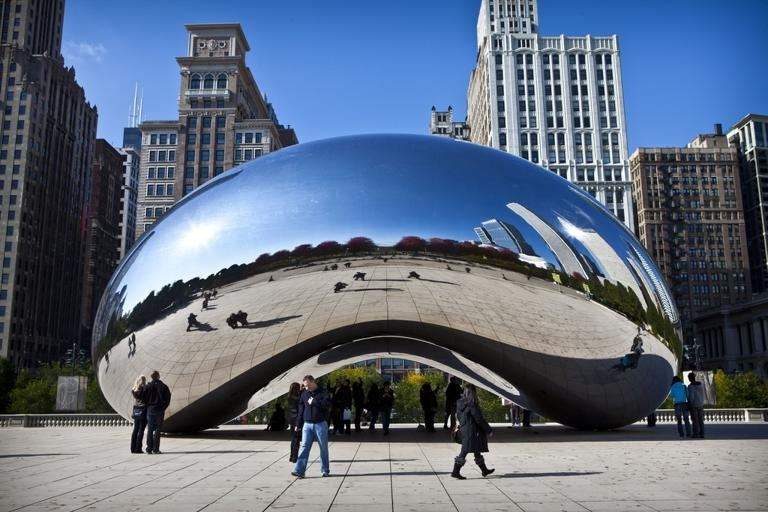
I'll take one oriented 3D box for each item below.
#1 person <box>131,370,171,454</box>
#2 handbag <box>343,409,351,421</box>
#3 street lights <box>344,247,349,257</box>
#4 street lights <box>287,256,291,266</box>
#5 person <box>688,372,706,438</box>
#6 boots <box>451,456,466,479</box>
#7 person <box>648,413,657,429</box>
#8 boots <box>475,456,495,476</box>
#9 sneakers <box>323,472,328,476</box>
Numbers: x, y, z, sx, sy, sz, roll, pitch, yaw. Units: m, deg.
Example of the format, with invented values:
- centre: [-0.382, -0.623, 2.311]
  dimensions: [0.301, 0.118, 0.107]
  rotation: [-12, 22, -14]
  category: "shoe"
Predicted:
- centre: [-5.161, 3.528, 12.905]
  dimensions: [0.731, 1.632, 0.239]
  rotation: [-3, -9, 8]
  category: "person"
- centre: [-1.067, 4.603, 16.802]
  dimensions: [0.216, 0.371, 0.385]
  rotation: [3, -10, 1]
  category: "handbag"
- centre: [-0.784, -0.074, 12.516]
  dimensions: [0.114, 0.175, 0.049]
  rotation: [-1, -9, -5]
  category: "street lights"
- centre: [-2.018, 0.104, 12.523]
  dimensions: [0.100, 0.143, 0.041]
  rotation: [-1, -9, -2]
  category: "street lights"
- centre: [8.419, 4.012, 15.652]
  dimensions: [0.361, 1.698, 0.579]
  rotation: [-6, -10, 27]
  category: "person"
- centre: [1.290, 3.678, 10.126]
  dimensions: [0.219, 0.370, 0.373]
  rotation: [-3, -9, 6]
  category: "boots"
- centre: [8.638, 5.271, 18.748]
  dimensions: [0.213, 0.474, 0.712]
  rotation: [-7, -11, 28]
  category: "person"
- centre: [1.760, 3.655, 10.155]
  dimensions: [0.270, 0.399, 0.526]
  rotation: [-4, -10, 14]
  category: "boots"
- centre: [-1.021, 3.864, 10.280]
  dimensions: [0.108, 0.068, 0.118]
  rotation: [0, -9, -7]
  category: "sneakers"
